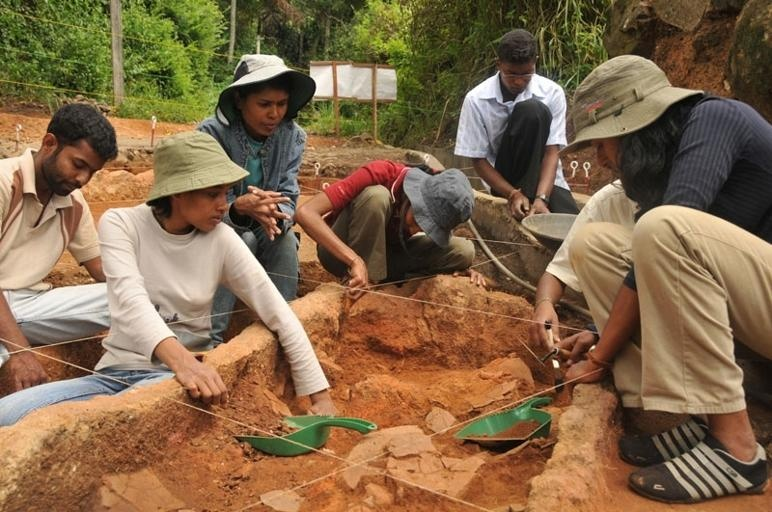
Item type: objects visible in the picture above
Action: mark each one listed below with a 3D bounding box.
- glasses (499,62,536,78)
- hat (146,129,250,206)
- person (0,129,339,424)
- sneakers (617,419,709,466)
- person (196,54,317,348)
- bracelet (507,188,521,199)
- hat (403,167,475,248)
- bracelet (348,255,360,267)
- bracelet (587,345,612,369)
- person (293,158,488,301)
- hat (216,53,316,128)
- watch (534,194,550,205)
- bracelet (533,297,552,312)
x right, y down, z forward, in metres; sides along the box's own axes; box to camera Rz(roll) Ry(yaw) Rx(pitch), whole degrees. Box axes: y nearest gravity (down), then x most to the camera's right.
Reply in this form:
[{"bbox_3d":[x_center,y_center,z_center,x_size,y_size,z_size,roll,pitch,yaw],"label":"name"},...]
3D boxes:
[{"bbox_3d":[1.128,-1.620,6.329,0.289,0.138,0.175,6,24,8],"label":"glasses"},{"bbox_3d":[-1.144,-0.527,4.267,0.683,0.351,0.593,-9,5,33],"label":"hat"},{"bbox_3d":[-1.136,0.137,4.070,1.680,1.467,0.881,-1,23,-8],"label":"person"},{"bbox_3d":[1.444,1.004,3.910,0.547,0.232,0.193,-11,32,17],"label":"sneakers"},{"bbox_3d":[-0.946,-0.333,5.232,0.728,2.163,1.229,-1,18,-24],"label":"person"},{"bbox_3d":[1.105,-0.536,6.281,0.041,0.099,0.081,31,13,-8],"label":"bracelet"},{"bbox_3d":[0.349,-0.357,5.136,0.473,0.506,0.485,3,23,1],"label":"hat"},{"bbox_3d":[-0.210,0.039,4.918,0.079,0.062,0.063,19,28,33],"label":"bracelet"},{"bbox_3d":[1.167,0.555,4.056,0.115,0.069,0.131,43,-7,-30],"label":"bracelet"},{"bbox_3d":[0.056,-0.243,5.484,1.419,0.948,1.467,6,-2,-27],"label":"person"},{"bbox_3d":[-0.855,-1.246,5.024,0.613,0.365,0.659,-11,-4,-21],"label":"hat"},{"bbox_3d":[1.326,-0.477,6.181,0.107,0.075,0.106,8,-15,16],"label":"watch"},{"bbox_3d":[0.949,0.300,4.407,0.065,0.083,0.041,6,2,-32],"label":"bracelet"}]
